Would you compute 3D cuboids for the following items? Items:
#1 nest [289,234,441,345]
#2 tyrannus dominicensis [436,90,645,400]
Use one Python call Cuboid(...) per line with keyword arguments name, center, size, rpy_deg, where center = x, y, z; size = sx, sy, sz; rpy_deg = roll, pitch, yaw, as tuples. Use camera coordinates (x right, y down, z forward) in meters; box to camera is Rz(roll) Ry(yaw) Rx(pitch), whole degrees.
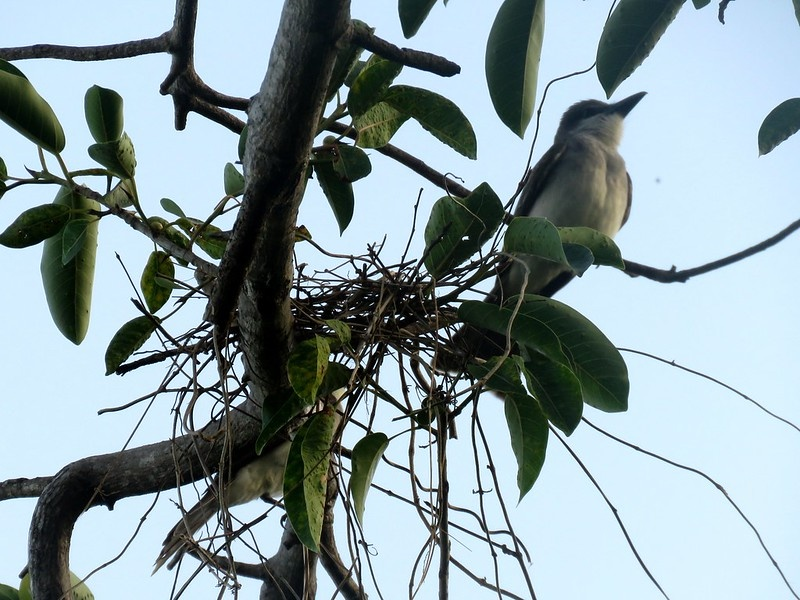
Cuboid(name="nest", center=(-0.056, -0.021, 2.148), size=(0.189, 0.230, 0.050), rpy_deg=(-9, -33, 13))
Cuboid(name="tyrannus dominicensis", center=(0.261, -0.072, 2.266), size=(0.194, 0.394, 0.608), rpy_deg=(31, -66, -19))
